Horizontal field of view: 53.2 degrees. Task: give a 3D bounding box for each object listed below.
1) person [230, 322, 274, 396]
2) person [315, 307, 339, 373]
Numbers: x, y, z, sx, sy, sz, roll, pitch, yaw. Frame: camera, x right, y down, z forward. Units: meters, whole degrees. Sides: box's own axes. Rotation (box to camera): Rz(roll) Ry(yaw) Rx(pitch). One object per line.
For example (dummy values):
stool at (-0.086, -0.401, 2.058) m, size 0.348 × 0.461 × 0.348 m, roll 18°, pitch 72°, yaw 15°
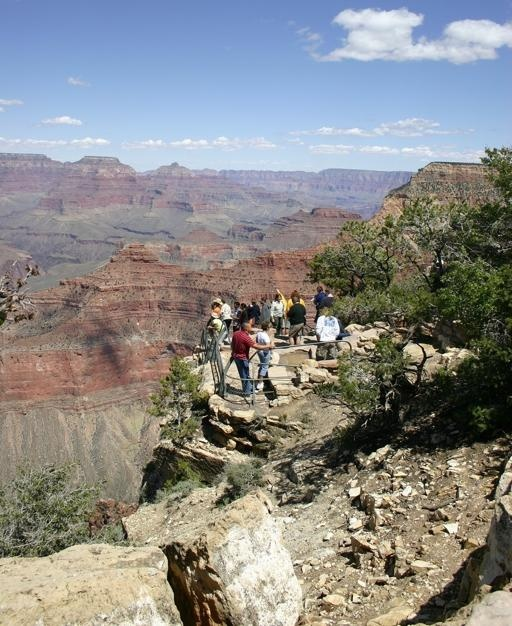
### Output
person at (-0.110, 1.210, 12.595) m, size 0.987 × 1.791 × 0.856 m, roll -22°, pitch 50°, yaw -21°
person at (1.814, 0.562, 13.091) m, size 0.539 × 1.523 × 1.153 m, roll 1°, pitch 9°, yaw 6°
